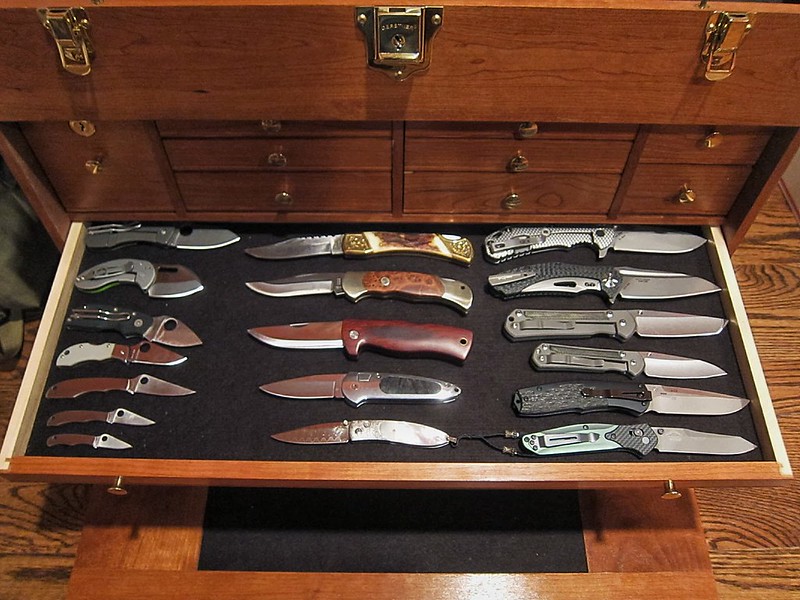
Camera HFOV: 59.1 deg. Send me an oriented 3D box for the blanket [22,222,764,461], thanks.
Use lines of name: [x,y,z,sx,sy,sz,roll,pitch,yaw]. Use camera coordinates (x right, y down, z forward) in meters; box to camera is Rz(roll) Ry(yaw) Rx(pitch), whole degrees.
blanket: [-0.159,0.141,1.702,1.608,0.039,0.448,-4,74,2]

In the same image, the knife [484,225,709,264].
knife: [0.460,-0.133,1.712,0.585,0.065,0.082,1,59,2]

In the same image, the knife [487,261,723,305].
knife: [0.478,-0.040,1.665,0.514,0.060,0.073,1,49,13]

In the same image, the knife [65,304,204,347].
knife: [-0.603,0.057,1.621,0.361,0.040,0.068,8,69,17]

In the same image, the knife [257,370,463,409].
knife: [-0.088,0.192,1.546,0.434,0.051,0.063,3,35,0]

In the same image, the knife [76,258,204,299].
knife: [-0.612,-0.055,1.671,0.348,0.048,0.075,3,72,18]

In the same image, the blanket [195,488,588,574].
blanket: [-0.028,0.560,1.687,0.801,0.017,0.147,-1,76,-1]

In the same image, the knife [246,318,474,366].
knife: [-0.092,0.086,1.591,0.502,0.072,0.080,3,35,0]
